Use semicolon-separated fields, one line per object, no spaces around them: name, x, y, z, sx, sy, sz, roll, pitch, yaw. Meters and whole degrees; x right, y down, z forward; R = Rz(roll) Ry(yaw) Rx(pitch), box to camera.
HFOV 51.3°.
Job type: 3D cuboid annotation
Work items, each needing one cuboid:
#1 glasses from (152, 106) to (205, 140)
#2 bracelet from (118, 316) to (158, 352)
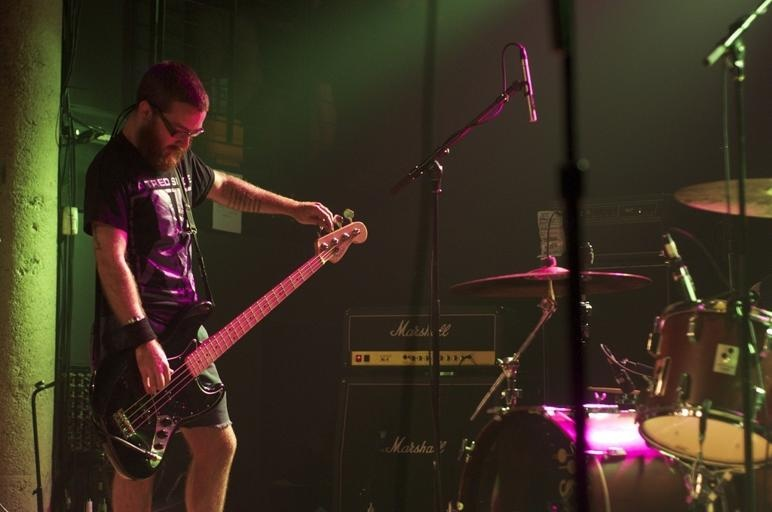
glasses;-1.157;-0.735;4.451;0.275;0.161;0.057;5;-8;-28
bracelet;-1.318;0.414;4.269;0.161;0.144;0.165;-19;1;-6
